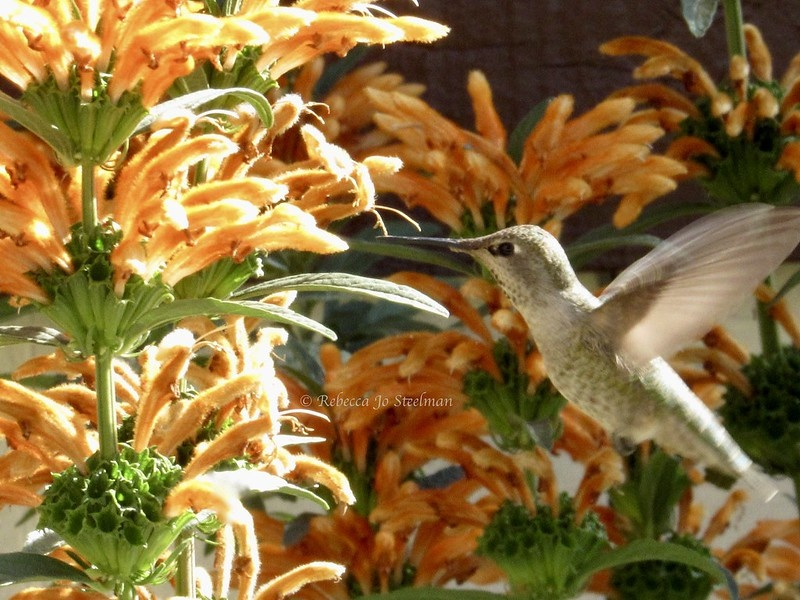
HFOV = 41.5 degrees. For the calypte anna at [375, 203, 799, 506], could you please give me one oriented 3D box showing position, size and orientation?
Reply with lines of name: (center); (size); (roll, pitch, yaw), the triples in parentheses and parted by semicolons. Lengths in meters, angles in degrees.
calypte anna: (0.174, 0.016, 1.139); (0.396, 0.136, 0.363); (14, 14, 11)
